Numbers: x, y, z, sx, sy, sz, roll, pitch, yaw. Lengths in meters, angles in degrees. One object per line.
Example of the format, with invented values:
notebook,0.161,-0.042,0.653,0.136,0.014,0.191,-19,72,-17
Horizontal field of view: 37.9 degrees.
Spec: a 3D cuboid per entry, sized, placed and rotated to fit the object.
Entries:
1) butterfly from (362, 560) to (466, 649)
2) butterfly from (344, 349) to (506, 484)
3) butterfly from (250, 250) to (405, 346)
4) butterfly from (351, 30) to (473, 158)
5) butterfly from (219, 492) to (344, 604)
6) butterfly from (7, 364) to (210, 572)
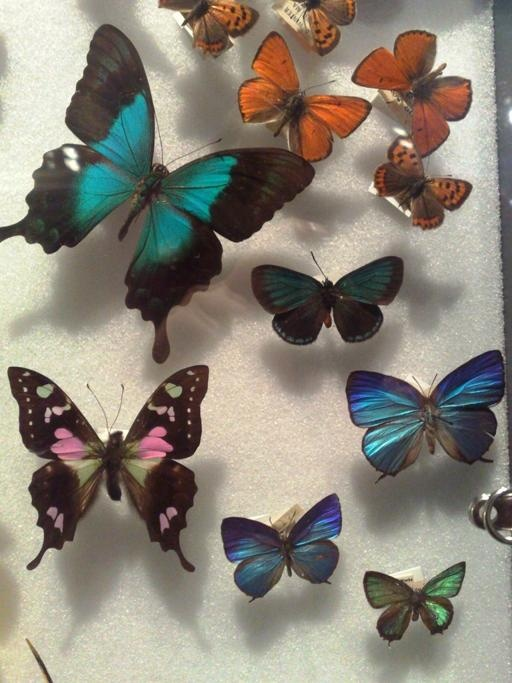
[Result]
butterfly,0.338,0.581,1.629,0.243,0.045,0.151,-3,96,-6
butterfly,0.373,0.158,1.577,0.341,0.135,0.221,-10,76,-2
butterfly,0.156,-0.077,1.572,0.326,0.198,0.097,-4,27,-7
butterfly,0.334,-0.540,1.590,0.247,0.177,0.073,47,39,0
butterfly,0.066,0.428,1.544,0.252,0.121,0.172,-13,76,-3
butterfly,-0.299,0.258,1.505,0.401,0.182,0.402,1,75,0
